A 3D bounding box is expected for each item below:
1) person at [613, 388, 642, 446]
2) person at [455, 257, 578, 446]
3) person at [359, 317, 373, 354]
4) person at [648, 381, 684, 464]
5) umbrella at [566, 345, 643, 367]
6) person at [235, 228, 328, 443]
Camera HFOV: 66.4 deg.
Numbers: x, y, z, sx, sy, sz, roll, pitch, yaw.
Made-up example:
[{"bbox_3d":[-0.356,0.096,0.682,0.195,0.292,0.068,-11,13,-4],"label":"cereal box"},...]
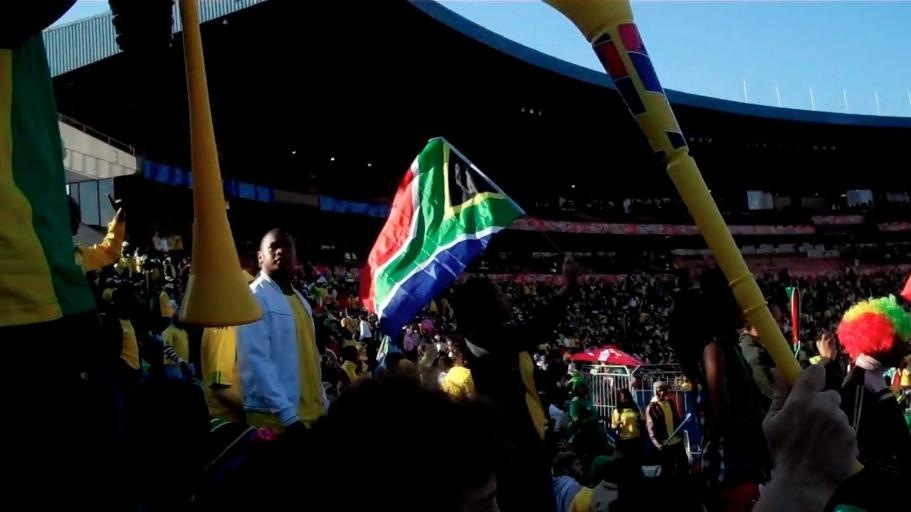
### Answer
[{"bbox_3d":[2.597,2.405,10.558,0.436,0.745,0.766,-3,-10,14],"label":"person"},{"bbox_3d":[0.467,0.825,5.749,0.999,1.379,0.393,7,-12,-37],"label":"person"},{"bbox_3d":[-1.689,1.540,13.176,0.122,0.768,0.349,-28,-32,28],"label":"person"},{"bbox_3d":[2.793,2.223,9.302,0.475,0.993,1.338,-3,-10,15],"label":"person"},{"bbox_3d":[3.162,2.174,14.940,0.920,0.501,2.674,0,-10,-5],"label":"umbrella"},{"bbox_3d":[-1.322,0.547,5.357,0.595,1.549,0.717,-1,-9,4],"label":"person"}]
